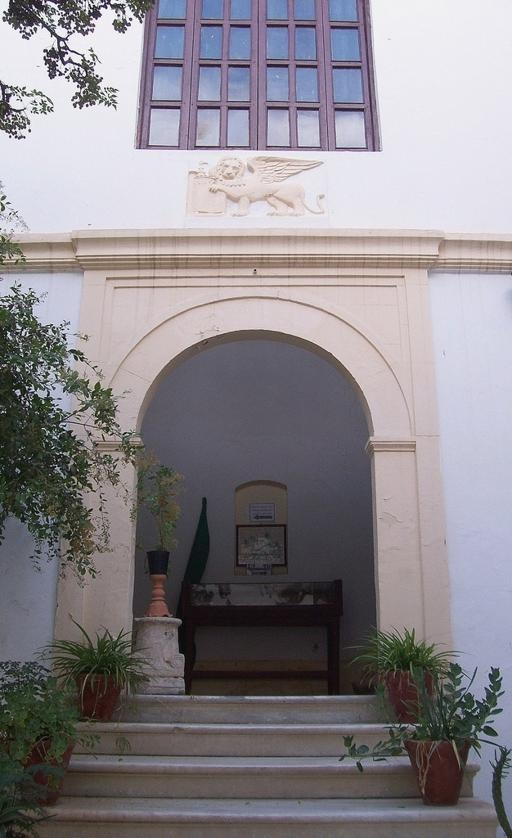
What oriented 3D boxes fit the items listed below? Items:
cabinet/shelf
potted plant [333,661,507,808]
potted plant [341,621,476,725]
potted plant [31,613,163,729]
[{"bbox_3d":[0.060,2.164,6.515,1.537,1.201,0.558,-1,-25,2],"label":"cabinet/shelf"},{"bbox_3d":[0.801,1.399,3.046,0.864,0.700,0.633,-5,-17,3],"label":"potted plant"},{"bbox_3d":[0.828,1.361,3.664,0.448,0.393,0.436,-10,-4,13],"label":"potted plant"},{"bbox_3d":[-0.855,1.363,3.607,0.491,0.485,0.499,2,-29,0],"label":"potted plant"}]
